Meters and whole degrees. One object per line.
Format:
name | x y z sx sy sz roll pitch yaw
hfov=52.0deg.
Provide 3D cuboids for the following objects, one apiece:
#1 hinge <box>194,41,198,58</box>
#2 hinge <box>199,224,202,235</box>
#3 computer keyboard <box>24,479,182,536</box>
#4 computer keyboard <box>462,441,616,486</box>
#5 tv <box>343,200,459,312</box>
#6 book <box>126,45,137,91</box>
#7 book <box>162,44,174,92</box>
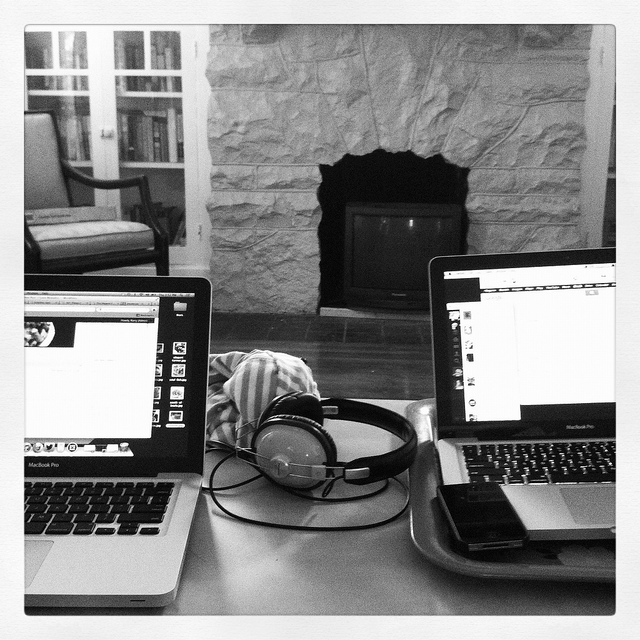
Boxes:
hinge | -0.593 -1.296 3.127 0.017 0.073 0.004 1 13 10
hinge | -0.610 -0.466 3.334 0.016 0.047 0.005 -1 12 3
computer keyboard | -0.182 0.148 0.524 0.130 0.016 0.078 -2 12 -3
computer keyboard | 0.204 0.130 0.598 0.145 0.010 0.075 -1 12 1
tv | 0.398 -0.339 3.178 0.559 0.546 0.304 4 25 10
book | -0.914 -1.221 3.165 0.045 0.205 0.036 -5 13 -16
book | -0.737 -1.231 3.181 0.058 0.285 0.039 -4 -15 0
